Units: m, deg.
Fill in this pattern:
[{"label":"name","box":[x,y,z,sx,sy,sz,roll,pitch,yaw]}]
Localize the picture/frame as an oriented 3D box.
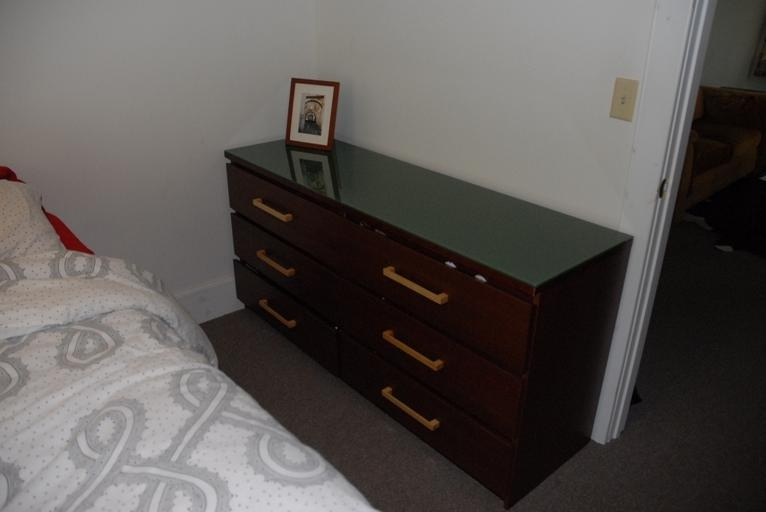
[{"label":"picture/frame","box":[-0.336,-0.687,2.520,0.301,0.351,0.028,22,19,12]}]
